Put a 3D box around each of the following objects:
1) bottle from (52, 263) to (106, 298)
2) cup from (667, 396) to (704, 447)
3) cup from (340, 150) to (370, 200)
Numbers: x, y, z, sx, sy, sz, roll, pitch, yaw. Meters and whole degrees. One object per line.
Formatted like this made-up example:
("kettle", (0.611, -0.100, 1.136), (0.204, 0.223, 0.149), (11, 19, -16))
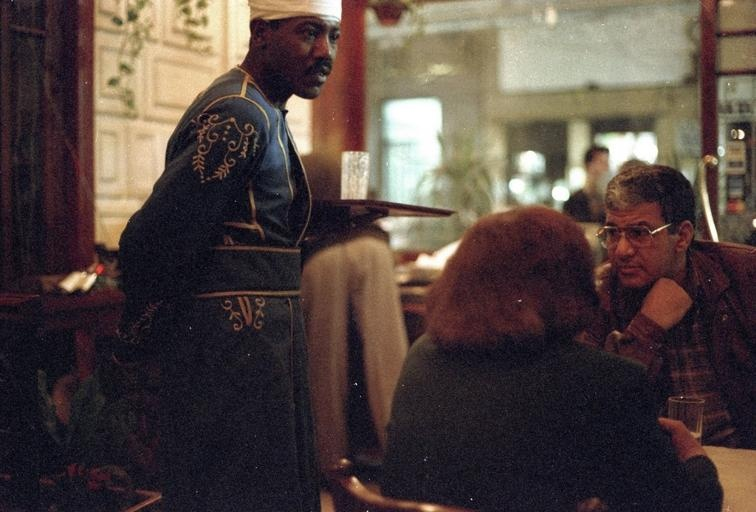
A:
("bottle", (-0.729, 0.050, 2.317), (0.112, 0.066, 0.033), (-10, -15, 10))
("cup", (0.672, 0.355, 2.070), (0.084, 0.137, 0.087), (0, -3, 0))
("cup", (-0.046, -0.172, 2.161), (0.065, 0.105, 0.062), (1, -16, 0))
